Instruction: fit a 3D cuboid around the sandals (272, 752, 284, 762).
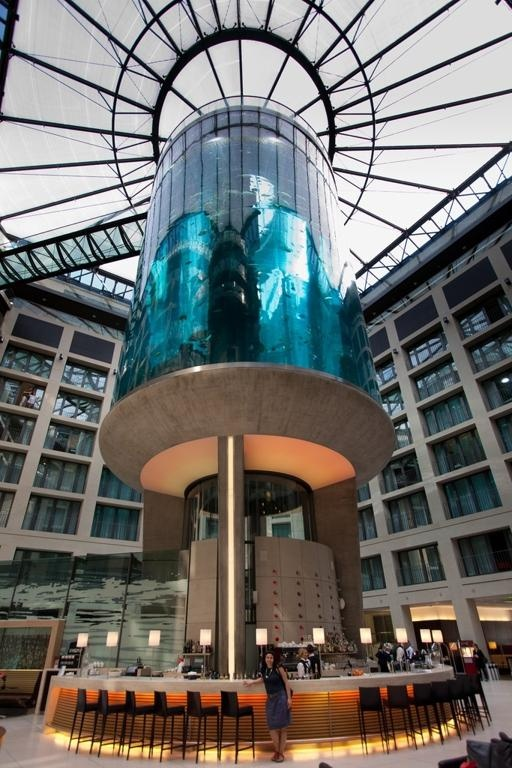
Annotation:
[{"bbox_3d":[0.355,5.758,6.258,0.135,0.082,0.252,1,-23,-4],"label":"sandals"}]
